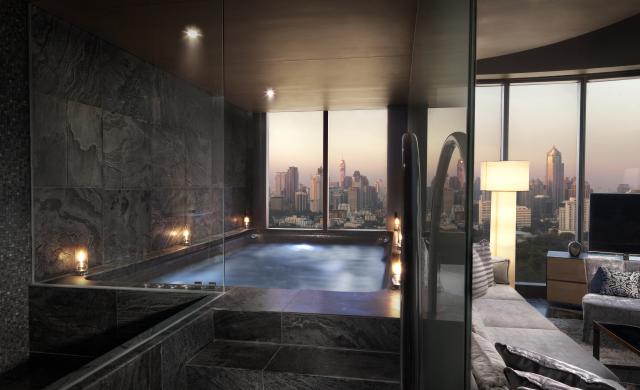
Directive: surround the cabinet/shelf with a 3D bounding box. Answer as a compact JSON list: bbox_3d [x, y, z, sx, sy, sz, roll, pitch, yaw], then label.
[{"bbox_3d":[3.277,1.110,5.523,1.322,0.647,0.868,1,-1,15],"label":"cabinet/shelf"}]
